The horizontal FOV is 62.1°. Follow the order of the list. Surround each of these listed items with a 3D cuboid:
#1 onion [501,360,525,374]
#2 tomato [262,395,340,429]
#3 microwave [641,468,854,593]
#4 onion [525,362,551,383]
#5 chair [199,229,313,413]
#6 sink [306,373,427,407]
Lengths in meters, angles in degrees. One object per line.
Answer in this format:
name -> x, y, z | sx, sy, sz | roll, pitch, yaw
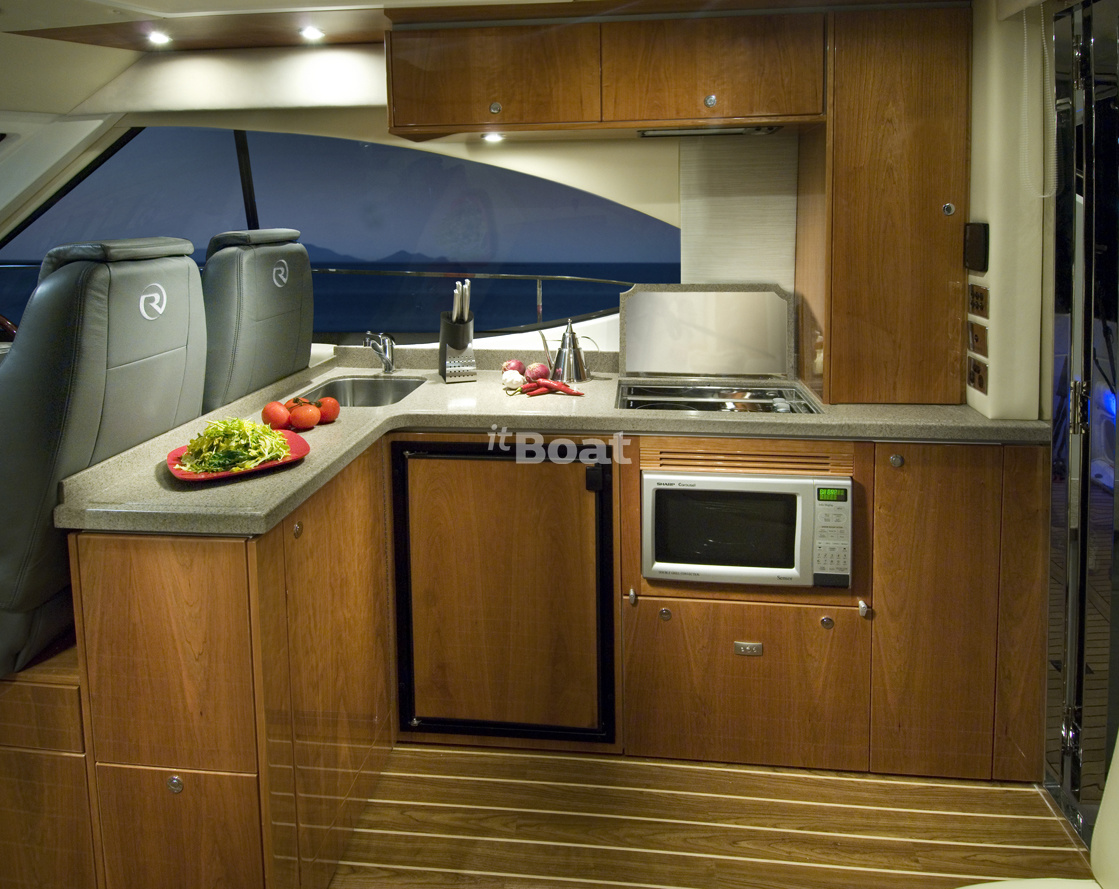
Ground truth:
onion -> -0.168, -0.286, 3.465 | 0.056, 0.063, 0.058 | -5, -2, -35
tomato -> -0.782, -0.089, 2.826 | 0.134, 0.061, 0.131 | 1, 7, 8
microwave -> 0.577, 0.269, 2.850 | 0.525, 0.332, 0.377 | 1, 3, 8
onion -> -0.071, -0.258, 3.391 | 0.065, 0.069, 0.065 | -2, 12, -5
chair -> -1.173, -0.492, 3.412 | 0.327, 0.597, 0.656 | 8, 16, 8
sink -> -0.747, -0.208, 3.638 | 0.244, 0.103, 0.198 | 0, 12, 9
